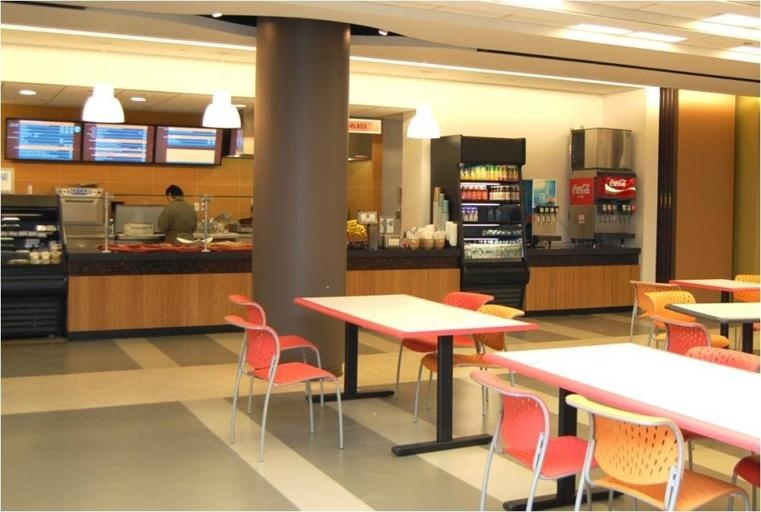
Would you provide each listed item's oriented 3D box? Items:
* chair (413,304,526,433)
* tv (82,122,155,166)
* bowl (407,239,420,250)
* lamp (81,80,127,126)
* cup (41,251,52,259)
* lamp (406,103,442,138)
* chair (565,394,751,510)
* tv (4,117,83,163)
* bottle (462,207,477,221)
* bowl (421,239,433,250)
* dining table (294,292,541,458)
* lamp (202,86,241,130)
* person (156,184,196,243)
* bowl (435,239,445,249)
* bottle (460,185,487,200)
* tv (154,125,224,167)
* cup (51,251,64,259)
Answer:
[{"bbox_3d":[0.735,0.979,6.305,1.396,1.548,0.983,2,0,-21],"label":"chair"},{"bbox_3d":[-5.363,-2.277,11.824,1.150,0.607,0.146,-1,3,-29],"label":"tv"},{"bbox_3d":[0.559,-0.209,9.971,0.198,0.133,0.172,0,0,19],"label":"bowl"},{"bbox_3d":[-3.717,-1.974,7.823,0.711,0.664,0.668,-4,12,-25],"label":"lamp"},{"bbox_3d":[-4.720,-0.020,8.259,0.140,0.115,0.092,1,6,-4],"label":"cup"},{"bbox_3d":[0.596,-1.867,8.181,0.607,0.506,0.605,9,16,37],"label":"lamp"},{"bbox_3d":[1.545,1.148,3.413,0.833,0.644,0.570,-2,8,-28],"label":"chair"},{"bbox_3d":[-6.651,-2.289,11.442,1.098,0.591,0.106,0,3,-22],"label":"tv"},{"bbox_3d":[1.580,-0.750,10.501,0.280,0.227,0.123,1,7,-1],"label":"bottle"},{"bbox_3d":[0.811,-0.212,10.093,0.176,0.119,0.169,0,3,0],"label":"bowl"},{"bbox_3d":[0.220,0.703,5.535,1.416,1.057,2.507,-4,7,-27],"label":"dining table"},{"bbox_3d":[-2.150,-1.949,7.948,0.607,0.440,0.567,0,2,-14],"label":"lamp"},{"bbox_3d":[-3.542,-0.612,10.245,0.630,0.715,0.469,-1,8,-17],"label":"person"},{"bbox_3d":[1.036,-0.207,10.199,0.169,0.115,0.161,-1,2,0],"label":"bowl"},{"bbox_3d":[1.710,-1.141,10.605,0.542,0.274,0.169,-2,9,-29],"label":"bottle"},{"bbox_3d":[-4.078,-2.336,12.276,1.260,0.645,0.155,0,0,-23],"label":"tv"},{"bbox_3d":[-4.572,-0.021,8.291,0.123,0.106,0.120,2,-2,0],"label":"cup"}]
